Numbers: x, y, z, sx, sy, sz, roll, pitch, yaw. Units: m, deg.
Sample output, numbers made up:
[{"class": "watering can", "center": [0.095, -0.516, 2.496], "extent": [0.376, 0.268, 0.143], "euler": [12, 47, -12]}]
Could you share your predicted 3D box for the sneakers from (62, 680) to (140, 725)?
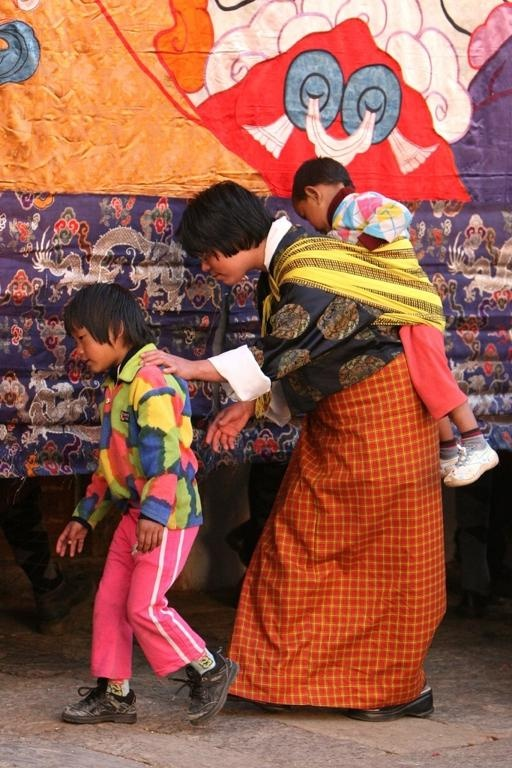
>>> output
[{"class": "sneakers", "center": [-0.412, 0.890, 2.005], "extent": [0.255, 0.138, 0.092], "euler": [5, -10, -7]}]

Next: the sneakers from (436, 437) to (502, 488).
[{"class": "sneakers", "center": [0.760, 0.265, 2.425], "extent": [0.289, 0.123, 0.095], "euler": [-22, -19, -41]}]

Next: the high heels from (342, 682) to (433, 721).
[{"class": "high heels", "center": [0.420, 0.985, 2.245], "extent": [0.269, 0.119, 0.097], "euler": [3, -2, -34]}]

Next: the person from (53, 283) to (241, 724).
[{"class": "person", "center": [-0.291, 0.328, 1.955], "extent": [0.438, 1.204, 0.367], "euler": [2, -8, 18]}]
